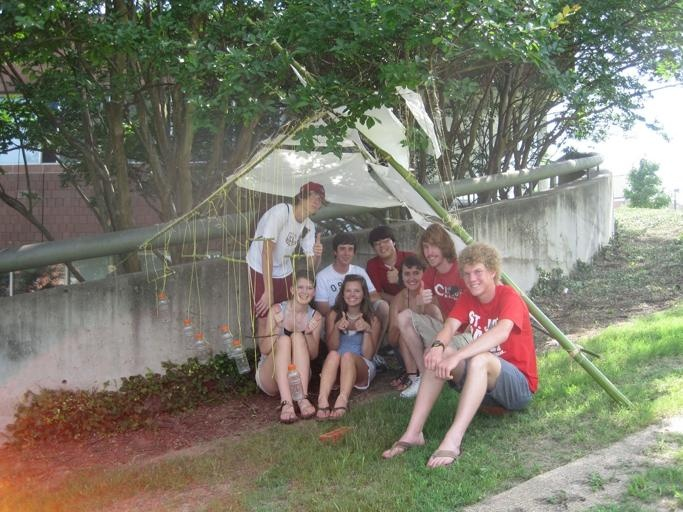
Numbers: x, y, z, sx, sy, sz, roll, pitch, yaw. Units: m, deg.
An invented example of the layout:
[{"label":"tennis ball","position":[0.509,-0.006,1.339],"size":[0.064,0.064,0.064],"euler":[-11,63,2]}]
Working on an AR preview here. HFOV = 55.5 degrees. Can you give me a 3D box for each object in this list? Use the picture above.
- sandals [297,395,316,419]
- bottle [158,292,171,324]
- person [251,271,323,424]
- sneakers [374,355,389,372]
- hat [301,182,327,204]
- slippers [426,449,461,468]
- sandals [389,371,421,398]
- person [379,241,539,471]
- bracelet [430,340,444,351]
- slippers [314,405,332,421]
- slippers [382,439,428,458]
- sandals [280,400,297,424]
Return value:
[{"label":"sandals","position":[-0.338,1.482,6.414],"size":[0.168,0.161,0.259],"euler":[-4,8,-8]},{"label":"bottle","position":[-2.114,0.603,7.668],"size":[0.127,0.376,0.227],"euler":[-3,8,-7]},{"label":"person","position":[-0.515,0.871,6.694],"size":[0.725,1.372,0.994],"euler":[-4,8,-12]},{"label":"sneakers","position":[0.454,1.210,7.347],"size":[0.071,0.209,0.149],"euler":[-35,18,-5]},{"label":"hat","position":[-0.300,-0.710,7.265],"size":[0.234,0.142,0.183],"euler":[2,0,-15]},{"label":"slippers","position":[0.807,1.591,5.107],"size":[0.216,0.077,0.120],"euler":[-3,14,-12]},{"label":"sandals","position":[0.711,1.358,6.819],"size":[0.136,0.198,0.432],"euler":[-4,-10,22]},{"label":"person","position":[1.091,0.735,5.557],"size":[1.382,1.619,0.616],"euler":[-9,10,-38]},{"label":"bracelet","position":[0.832,0.757,5.523],"size":[0.141,0.072,0.080],"euler":[-5,8,-14]},{"label":"slippers","position":[-0.171,1.514,6.265],"size":[0.138,0.101,0.159],"euler":[-3,8,-1]},{"label":"slippers","position":[0.524,1.599,5.410],"size":[0.325,0.128,0.143],"euler":[-7,-6,-17]},{"label":"sandals","position":[-0.518,1.516,6.387],"size":[0.172,0.182,0.279],"euler":[-4,8,-6]}]
